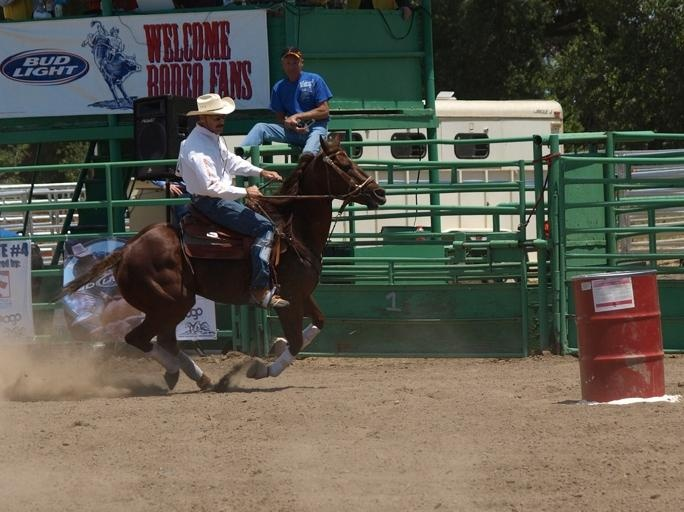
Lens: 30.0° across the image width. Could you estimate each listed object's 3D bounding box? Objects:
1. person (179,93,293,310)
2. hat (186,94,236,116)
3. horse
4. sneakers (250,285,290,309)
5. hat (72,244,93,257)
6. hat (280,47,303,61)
[{"bbox_3d":[-1.511,-0.731,16.930,1.307,2.799,0.730,-1,8,-7],"label":"person"},{"bbox_3d":[-1.648,-2.054,16.869,0.420,0.158,0.435,-9,-1,28],"label":"hat"},{"bbox_3d":[-1.738,0.241,17.259,5.193,3.154,1.137,-7,0,-25],"label":"horse"},{"bbox_3d":[-0.975,0.560,16.828,0.621,0.232,0.195,0,-1,10],"label":"sneakers"},{"bbox_3d":[-3.840,-0.069,18.862,0.190,0.218,0.197,-14,13,0],"label":"hat"},{"bbox_3d":[-0.743,-2.981,18.832,0.190,0.120,0.243,-1,-16,-2],"label":"hat"}]
